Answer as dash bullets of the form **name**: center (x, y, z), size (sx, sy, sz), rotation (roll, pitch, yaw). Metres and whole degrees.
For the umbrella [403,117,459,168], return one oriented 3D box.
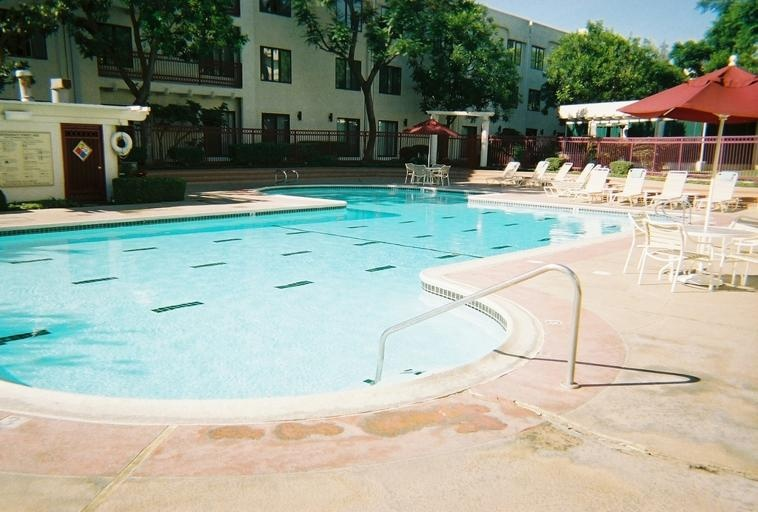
- **umbrella**: center (2.525, -5.519, 25.744), size (3.382, 2.030, 3.184), rotation (9, 24, 23)
